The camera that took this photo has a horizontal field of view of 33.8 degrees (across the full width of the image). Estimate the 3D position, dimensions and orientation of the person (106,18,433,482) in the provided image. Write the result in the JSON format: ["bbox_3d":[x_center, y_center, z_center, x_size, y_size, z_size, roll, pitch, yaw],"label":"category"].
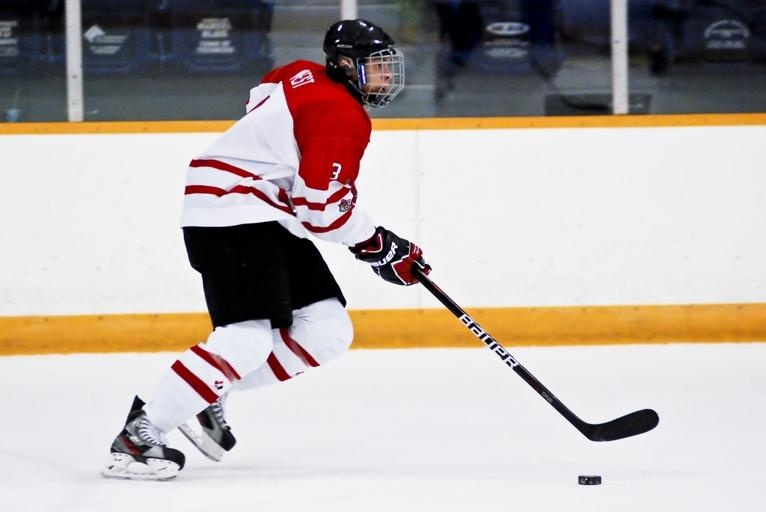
[{"bbox_3d":[-0.563,0.039,5.885,1.454,1.843,0.413,-6,15,-23],"label":"person"}]

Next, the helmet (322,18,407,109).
[{"bbox_3d":[-0.076,-0.955,6.105,0.478,0.427,0.351,5,23,1],"label":"helmet"}]

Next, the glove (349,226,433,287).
[{"bbox_3d":[0.050,0.001,6.022,0.400,0.209,0.144,24,-10,-28],"label":"glove"}]
